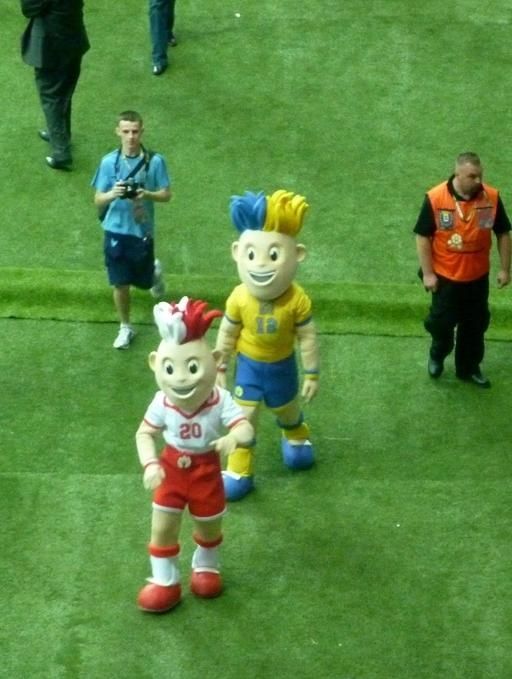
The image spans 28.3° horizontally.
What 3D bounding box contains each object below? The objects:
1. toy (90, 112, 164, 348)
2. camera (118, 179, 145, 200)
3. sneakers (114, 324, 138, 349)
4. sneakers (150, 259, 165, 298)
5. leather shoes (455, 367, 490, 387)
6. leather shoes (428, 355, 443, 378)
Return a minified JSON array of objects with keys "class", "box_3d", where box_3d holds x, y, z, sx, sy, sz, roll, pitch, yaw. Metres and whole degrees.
[{"class":"toy","box_3d":[-0.726,-0.587,6.218,0.451,1.282,0.369,-7,30,-6]},{"class":"camera","box_3d":[-0.719,-0.877,5.914,0.125,0.121,0.099,0,23,-13]},{"class":"sneakers","box_3d":[-0.835,-0.011,6.361,0.083,0.079,0.190,13,7,-4]},{"class":"sneakers","box_3d":[-0.640,-0.396,6.587,0.077,0.247,0.105,-2,8,6]},{"class":"leather shoes","box_3d":[1.308,0.217,6.199,0.085,0.094,0.223,-21,29,-38]},{"class":"leather shoes","box_3d":[1.086,0.172,6.214,0.057,0.160,0.110,-2,8,4]}]
